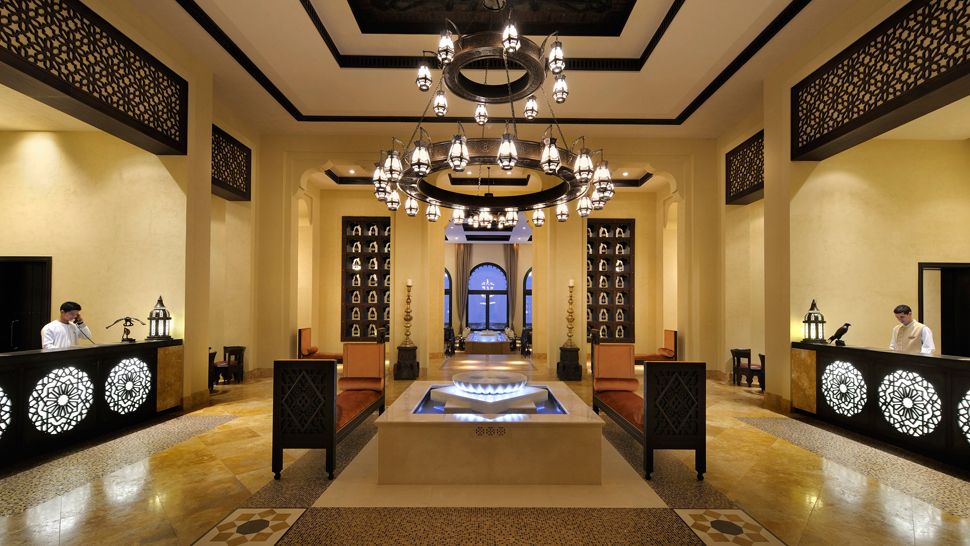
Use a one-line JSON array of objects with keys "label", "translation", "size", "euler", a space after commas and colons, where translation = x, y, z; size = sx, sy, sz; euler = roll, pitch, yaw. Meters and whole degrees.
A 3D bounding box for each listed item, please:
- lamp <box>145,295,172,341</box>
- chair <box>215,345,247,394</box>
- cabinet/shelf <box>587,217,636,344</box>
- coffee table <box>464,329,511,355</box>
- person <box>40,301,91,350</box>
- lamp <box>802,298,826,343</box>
[{"label": "lamp", "translation": [-6.074, 0.829, 10.831], "size": [0.482, 0.814, 0.344], "euler": [0, -5, 3]}, {"label": "chair", "translation": [-5.730, 2.082, 13.061], "size": [0.586, 0.845, 0.700], "euler": [2, -5, -21]}, {"label": "cabinet/shelf", "translation": [3.655, 0.202, 16.836], "size": [1.357, 3.541, 0.485], "euler": [0, -6, 1]}, {"label": "coffee table", "translation": [0.117, 2.282, 18.673], "size": [1.448, 0.554, 1.590], "euler": [0, -5, 5]}, {"label": "person", "translation": [-7.408, 1.100, 10.283], "size": [0.638, 1.077, 0.793], "euler": [-3, -3, 14]}, {"label": "lamp", "translation": [6.218, 0.913, 10.988], "size": [0.358, 0.788, 0.316], "euler": [-1, -6, 14]}]
